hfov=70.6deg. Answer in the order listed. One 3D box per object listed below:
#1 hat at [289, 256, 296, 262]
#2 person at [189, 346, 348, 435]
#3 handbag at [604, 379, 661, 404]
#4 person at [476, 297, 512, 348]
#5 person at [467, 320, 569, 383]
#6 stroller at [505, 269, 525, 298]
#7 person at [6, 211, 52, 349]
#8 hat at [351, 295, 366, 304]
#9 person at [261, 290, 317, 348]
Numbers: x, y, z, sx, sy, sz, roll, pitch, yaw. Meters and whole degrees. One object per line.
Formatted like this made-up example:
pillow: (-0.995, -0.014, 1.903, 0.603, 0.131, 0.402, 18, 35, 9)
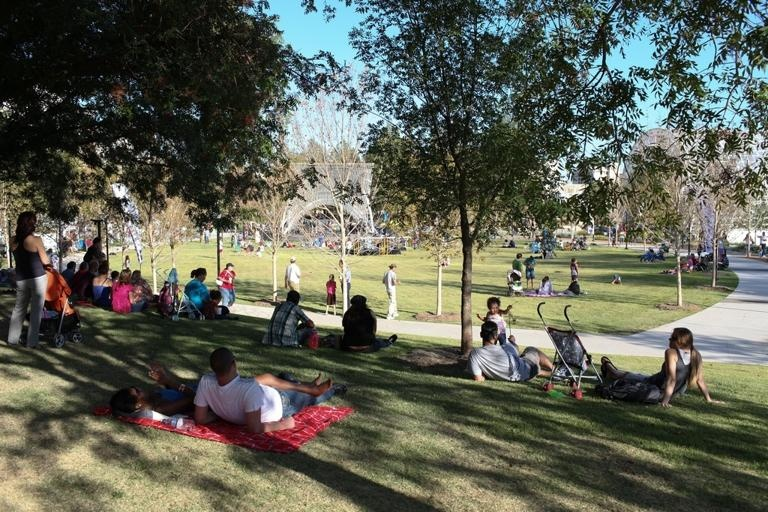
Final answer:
hat: (-4.204, 0.191, 25.059, 0.314, 0.167, 0.436, 2, -1, -15)
person: (-1.858, 2.048, 8.911, 1.006, 0.931, 1.936, 7, 6, 22)
handbag: (4.978, 2.709, 10.652, 0.610, 0.235, 0.519, 2, 1, 34)
person: (2.922, 1.908, 13.848, 0.771, 1.656, 0.513, -4, 15, 17)
person: (2.759, 2.226, 11.867, 1.349, 1.036, 1.555, 1, 7, 33)
stroller: (7.327, 1.500, 29.968, 0.852, 1.348, 1.459, 6, 6, 16)
person: (-7.018, 0.498, 10.680, 0.653, 2.738, 0.979, -1, 8, -39)
hat: (-0.625, 1.079, 13.409, 0.348, 0.206, 0.514, 6, 6, 8)
person: (-2.361, 1.604, 13.687, 1.144, 1.413, 1.076, 6, 5, -2)
